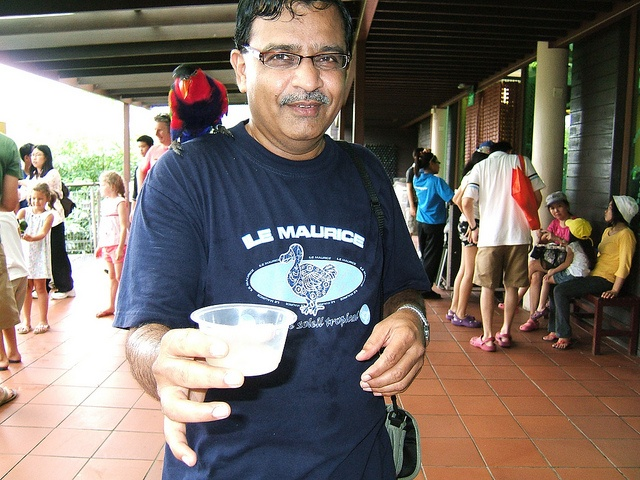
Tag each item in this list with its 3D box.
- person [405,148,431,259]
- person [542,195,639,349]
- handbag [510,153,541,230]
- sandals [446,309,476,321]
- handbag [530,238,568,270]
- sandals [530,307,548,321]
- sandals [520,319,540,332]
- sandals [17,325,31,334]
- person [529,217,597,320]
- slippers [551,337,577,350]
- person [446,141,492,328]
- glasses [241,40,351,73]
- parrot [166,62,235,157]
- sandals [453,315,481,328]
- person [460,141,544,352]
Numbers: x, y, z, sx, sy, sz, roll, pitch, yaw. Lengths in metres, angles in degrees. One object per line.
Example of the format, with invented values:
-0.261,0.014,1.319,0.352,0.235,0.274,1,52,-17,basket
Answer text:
1.628,-0.606,7.987,0.560,1.439,0.334,-4,9,-39,person
2.474,0.246,4.676,0.623,1.534,0.475,0,2,-14,person
1.887,-0.435,4.630,0.258,0.646,0.332,5,12,23,handbag
1.507,0.813,5.499,0.122,0.149,0.339,-1,1,-31,sandals
2.228,0.148,4.952,0.113,0.207,0.285,-28,13,-31,handbag
2.251,0.752,5.218,0.210,0.089,0.074,-36,-2,-12,sandals
2.143,0.863,5.162,0.210,0.091,0.095,-2,-3,-33,sandals
-2.949,0.888,5.026,0.052,0.038,0.134,0,6,-11,sandals
2.182,0.122,4.731,0.697,1.128,0.405,2,4,38,person
2.300,0.958,4.739,0.237,0.057,0.093,1,6,-34,slippers
1.492,-0.028,5.232,0.548,1.904,0.684,1,4,-1,person
-0.053,-0.545,1.565,0.276,0.090,0.092,5,13,-4,glasses
-0.955,-1.036,3.887,0.487,0.693,0.861,-12,26,-14,parrot
1.548,0.863,5.334,0.235,0.103,0.135,1,5,7,sandals
1.750,-0.004,4.850,0.739,1.916,0.578,1,1,32,person
